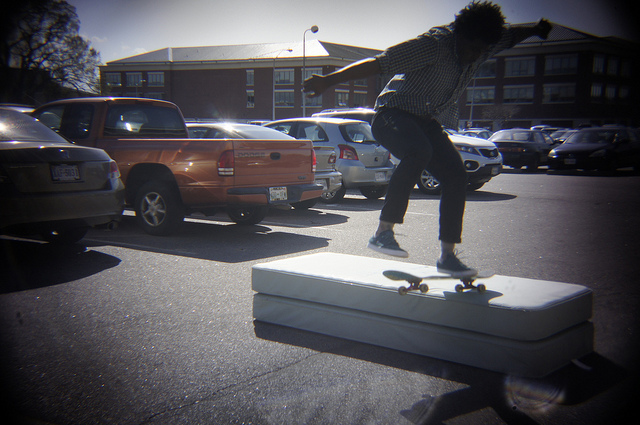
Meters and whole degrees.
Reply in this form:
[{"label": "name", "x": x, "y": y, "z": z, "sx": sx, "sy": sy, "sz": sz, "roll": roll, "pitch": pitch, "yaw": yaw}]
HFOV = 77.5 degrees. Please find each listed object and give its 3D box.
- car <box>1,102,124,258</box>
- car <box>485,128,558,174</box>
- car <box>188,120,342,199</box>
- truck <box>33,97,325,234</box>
[{"label": "car", "x": -3.342, "y": -0.391, "z": 5.156, "sx": 2.577, "sy": 1.100, "sz": 1.222, "roll": 11, "pitch": 13, "yaw": 37}, {"label": "car", "x": 12.348, "y": -3.856, "z": 23.933, "sx": 6.896, "sy": 2.254, "sz": 2.899, "roll": -12, "pitch": 15, "yaw": -42}, {"label": "car", "x": -1.203, "y": -1.209, "z": 9.073, "sx": 3.416, "sy": 1.176, "sz": 1.605, "roll": 11, "pitch": 13, "yaw": 35}, {"label": "truck", "x": -3.090, "y": -0.956, "z": 7.704, "sx": 5.346, "sy": 1.919, "sz": 2.496, "roll": 8, "pitch": 10, "yaw": 30}]
